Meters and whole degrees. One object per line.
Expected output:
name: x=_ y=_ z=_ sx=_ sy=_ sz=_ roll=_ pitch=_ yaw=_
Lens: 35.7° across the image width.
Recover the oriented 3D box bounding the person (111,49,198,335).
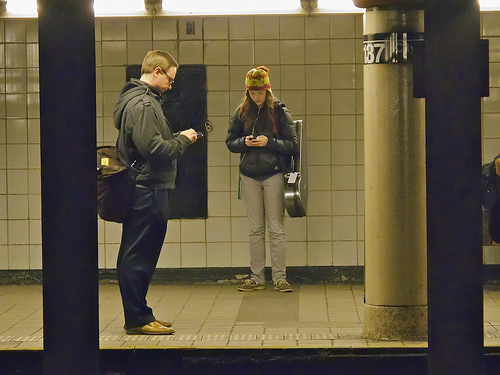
person: x=-0.823 y=0.031 z=6.581 sx=0.660 sy=2.356 sz=0.538 roll=-2 pitch=8 yaw=-5

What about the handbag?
handbag: x=-1.162 y=-0.011 z=6.451 sx=0.393 sy=0.545 sz=0.187 roll=4 pitch=8 yaw=35

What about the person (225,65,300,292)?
person: x=0.135 y=-0.082 z=7.844 sx=0.718 sy=2.259 sz=0.385 roll=-1 pitch=8 yaw=2

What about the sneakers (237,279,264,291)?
sneakers: x=0.003 y=0.996 z=7.926 sx=0.264 sy=0.121 sz=0.116 roll=3 pitch=-2 yaw=2

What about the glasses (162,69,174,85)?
glasses: x=-0.714 y=-0.965 z=6.683 sx=0.030 sy=0.106 sz=0.099 roll=-20 pitch=-14 yaw=18

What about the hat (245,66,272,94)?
hat: x=0.085 y=-1.085 z=7.796 sx=0.258 sy=0.300 sz=0.303 roll=-2 pitch=13 yaw=12
